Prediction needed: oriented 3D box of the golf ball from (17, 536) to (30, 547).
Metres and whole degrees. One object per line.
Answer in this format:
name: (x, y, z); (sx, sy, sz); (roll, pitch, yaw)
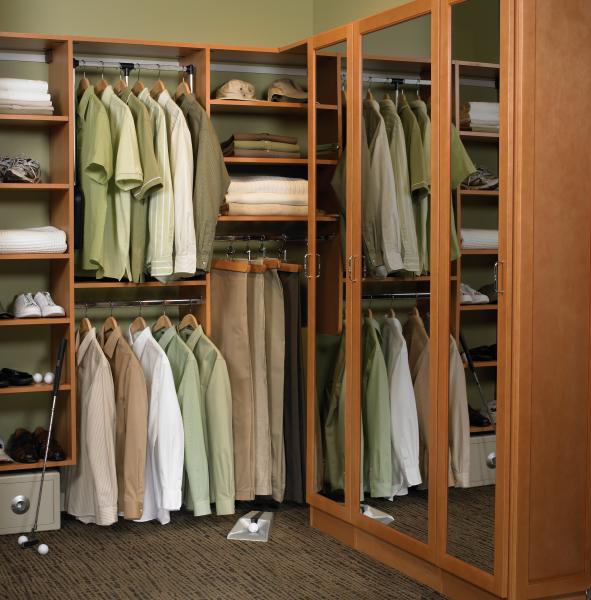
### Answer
golf ball: (-1.238, 1.092, 2.949); (0.037, 0.063, 0.045); (-1, -5, 8)

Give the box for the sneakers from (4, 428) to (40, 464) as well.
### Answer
sneakers: (-1.371, 0.716, 3.259); (0.102, 0.155, 0.343); (3, -3, -24)

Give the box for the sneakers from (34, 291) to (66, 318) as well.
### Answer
sneakers: (-1.218, 0.009, 3.199); (0.078, 0.119, 0.240); (-1, 9, -24)

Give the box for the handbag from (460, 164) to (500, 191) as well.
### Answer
handbag: (0.623, -0.428, 2.199); (0.039, 0.058, 0.107); (-3, 5, -29)

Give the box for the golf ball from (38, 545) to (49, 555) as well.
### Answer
golf ball: (-1.124, 1.105, 2.876); (0.038, 0.053, 0.041); (3, -4, -22)

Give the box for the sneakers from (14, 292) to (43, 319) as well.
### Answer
sneakers: (-1.298, 0.033, 3.129); (0.068, 0.108, 0.216); (1, 1, -20)

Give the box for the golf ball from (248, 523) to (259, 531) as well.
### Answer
golf ball: (-0.203, 1.110, 3.166); (0.052, 0.040, 0.055); (-2, 9, 0)

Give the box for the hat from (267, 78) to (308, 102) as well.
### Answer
hat: (-0.046, -1.182, 3.680); (0.166, 0.127, 0.143); (0, 12, -5)

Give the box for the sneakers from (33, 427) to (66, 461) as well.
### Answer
sneakers: (-1.251, 0.724, 3.315); (0.089, 0.141, 0.284); (2, 0, -29)

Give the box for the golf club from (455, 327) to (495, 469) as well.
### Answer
golf club: (0.634, 0.333, 2.252); (0.051, 0.500, 0.033); (-6, -8, -32)
